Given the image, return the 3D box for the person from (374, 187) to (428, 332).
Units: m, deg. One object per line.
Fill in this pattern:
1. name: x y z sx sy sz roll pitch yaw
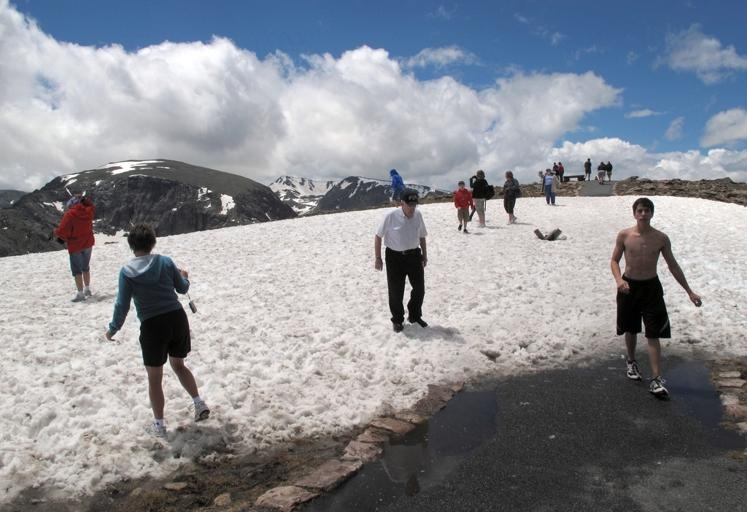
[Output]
1. person: 0.694 0.115 10.988 1.165 3.253 0.937 -6 8 5

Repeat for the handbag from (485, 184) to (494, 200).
1. handbag: 4.898 -2.683 19.816 0.289 0.515 1.351 -5 8 12

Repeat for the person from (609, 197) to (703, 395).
1. person: 4.899 0.682 8.552 1.030 3.392 0.962 0 10 35

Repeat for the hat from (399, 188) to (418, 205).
1. hat: 0.813 -1.351 10.850 0.382 0.397 1.098 -6 8 3

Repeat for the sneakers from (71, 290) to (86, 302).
1. sneakers: -8.009 1.096 12.797 0.346 0.272 0.259 -13 10 -39

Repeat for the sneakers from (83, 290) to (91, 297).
1. sneakers: -7.897 1.024 13.021 0.160 0.175 0.166 2 3 -25
